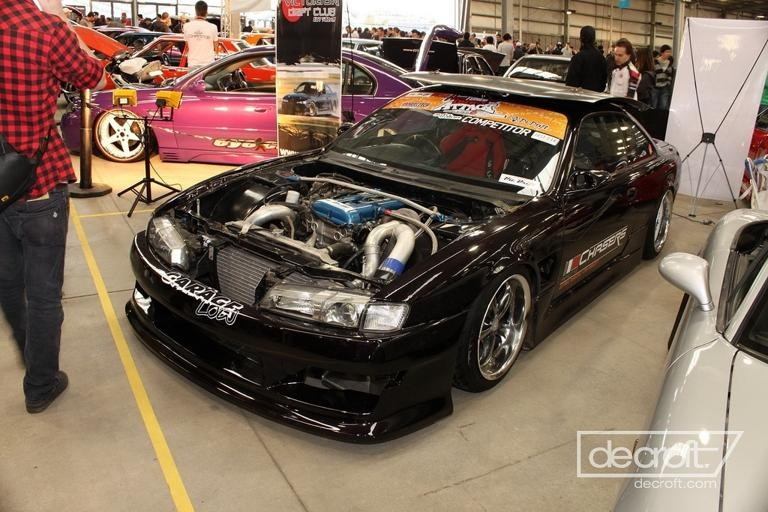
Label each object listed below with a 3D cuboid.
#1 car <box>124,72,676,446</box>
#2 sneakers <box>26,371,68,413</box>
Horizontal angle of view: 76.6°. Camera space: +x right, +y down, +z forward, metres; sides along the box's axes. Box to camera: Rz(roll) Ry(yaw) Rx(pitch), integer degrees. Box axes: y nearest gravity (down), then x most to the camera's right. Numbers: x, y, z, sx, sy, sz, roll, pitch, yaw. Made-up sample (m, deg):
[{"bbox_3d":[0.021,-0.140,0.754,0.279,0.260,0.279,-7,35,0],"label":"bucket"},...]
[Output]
[{"bbox_3d":[0.716,-0.111,4.079,4.431,1.330,2.286,-26,42,-36],"label":"car"},{"bbox_3d":[-2.148,0.876,3.164,0.110,0.125,0.281,19,42,15],"label":"sneakers"}]
